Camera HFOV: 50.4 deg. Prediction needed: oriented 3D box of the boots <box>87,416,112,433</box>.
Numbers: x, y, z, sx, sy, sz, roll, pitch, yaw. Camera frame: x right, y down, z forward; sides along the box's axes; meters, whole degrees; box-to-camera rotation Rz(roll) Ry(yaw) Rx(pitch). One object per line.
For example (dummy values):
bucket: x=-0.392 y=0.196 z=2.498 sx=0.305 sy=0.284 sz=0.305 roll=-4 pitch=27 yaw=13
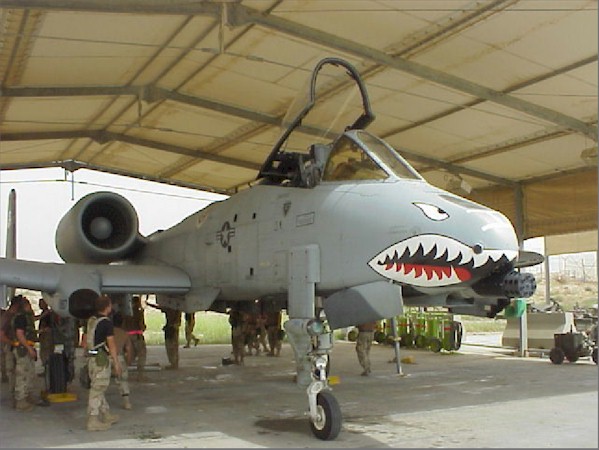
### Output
boots: x=-3.281 y=3.289 z=10.503 sx=0.323 sy=0.254 sz=0.438 roll=-5 pitch=-11 yaw=23

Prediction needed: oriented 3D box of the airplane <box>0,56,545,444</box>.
airplane: x=-1.203 y=0.510 z=11.971 sx=10.088 sy=3.628 sz=8.696 roll=2 pitch=-2 yaw=-31

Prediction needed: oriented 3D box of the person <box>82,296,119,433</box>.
person: x=-3.332 y=2.315 z=10.595 sx=0.578 sy=2.180 sz=0.451 roll=-1 pitch=-12 yaw=-1
